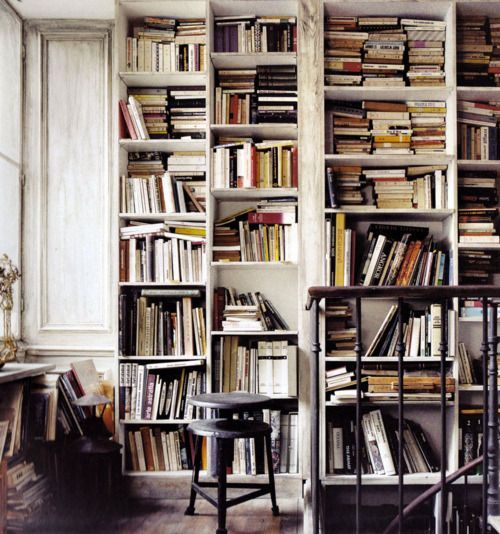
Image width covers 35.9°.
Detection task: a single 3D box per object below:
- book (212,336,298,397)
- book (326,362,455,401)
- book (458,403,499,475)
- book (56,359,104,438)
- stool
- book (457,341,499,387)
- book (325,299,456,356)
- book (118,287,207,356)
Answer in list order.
[{"bbox_3d":[0.000,0.573,4.487,0.426,0.335,0.126,-1,-1,9],"label":"book"},{"bbox_3d":[0.788,0.651,4.391,0.726,0.198,0.238,-1,0,6],"label":"book"},{"bbox_3d":[1.263,0.971,4.437,0.130,0.319,0.136,-1,-1,16],"label":"book"},{"bbox_3d":[-0.978,0.742,4.383,0.089,0.420,0.282,-5,3,3],"label":"book"},{"bbox_3d":[-0.109,1.025,4.108,0.512,0.707,0.715,-1,0,2],"label":"stool"},{"bbox_3d":[1.272,0.559,4.481,0.131,0.230,0.235,-1,0,16],"label":"book"},{"bbox_3d":[0.808,0.360,4.528,0.720,0.319,0.304,-1,0,9],"label":"book"},{"bbox_3d":[-0.512,0.334,4.482,0.316,0.354,0.124,0,-5,1],"label":"book"}]
